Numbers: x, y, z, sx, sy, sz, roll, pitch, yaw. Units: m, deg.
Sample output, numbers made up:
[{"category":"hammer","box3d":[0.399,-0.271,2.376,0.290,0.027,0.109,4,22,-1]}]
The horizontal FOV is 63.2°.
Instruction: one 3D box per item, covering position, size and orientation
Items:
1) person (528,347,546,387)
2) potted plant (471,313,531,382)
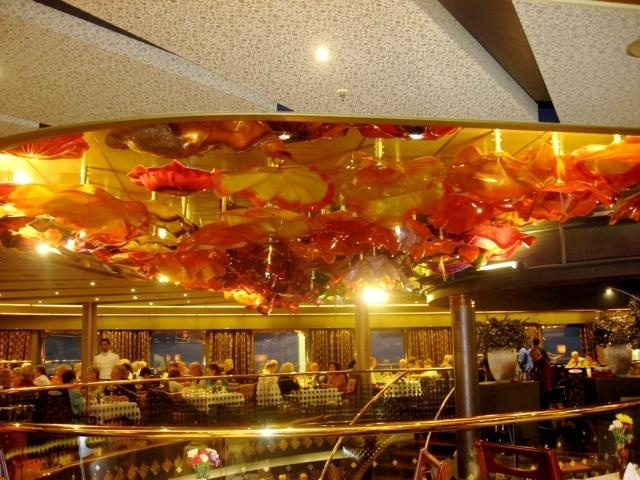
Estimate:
[{"category":"person","box3d":[4.216,2.492,10.125,0.312,0.733,0.791,-8,-10,20]},{"category":"potted plant","box3d":[3.022,2.040,9.456,1.468,0.963,1.146,-8,-23,5]}]
